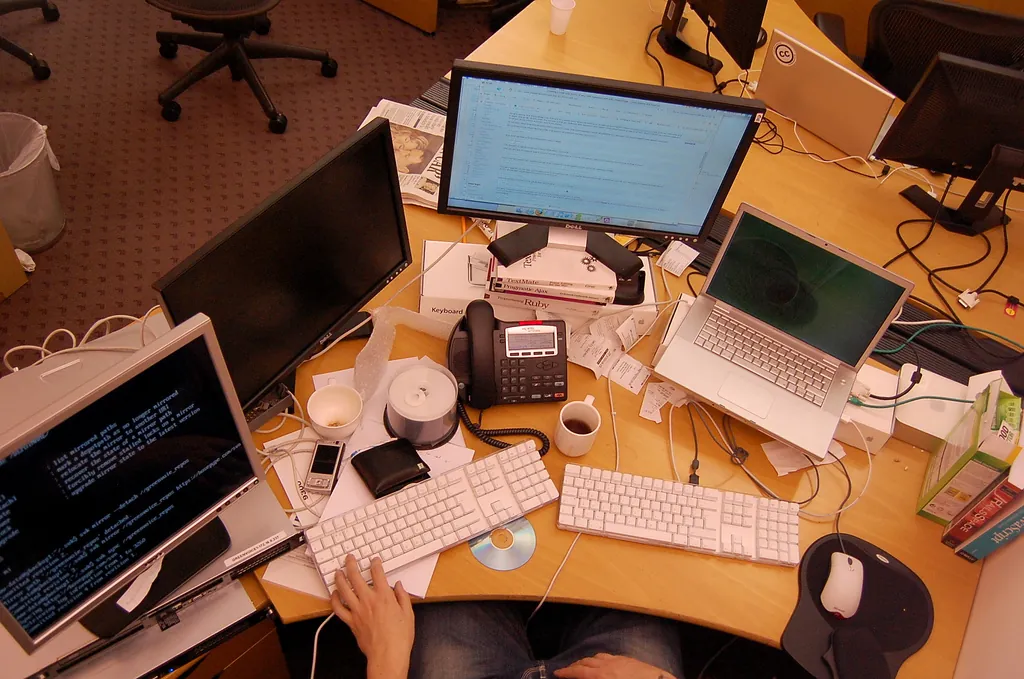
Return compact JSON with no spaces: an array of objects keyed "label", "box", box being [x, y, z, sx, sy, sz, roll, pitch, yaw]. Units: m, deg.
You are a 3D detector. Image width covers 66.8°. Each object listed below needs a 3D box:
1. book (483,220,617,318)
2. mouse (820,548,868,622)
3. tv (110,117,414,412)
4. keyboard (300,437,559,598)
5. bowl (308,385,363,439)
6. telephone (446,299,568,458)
[{"label":"book","box":[0.114,-0.212,2.327,0.328,0.040,0.273,5,47,-4]},{"label":"mouse","box":[0.910,0.660,2.116,0.095,0.039,0.171,22,64,7]},{"label":"tv","box":[-0.563,-0.202,2.052,0.340,0.670,0.935,14,31,25]},{"label":"keyboard","box":[-0.214,0.476,2.095,0.663,0.099,0.179,-16,58,-19]},{"label":"bowl","box":[-0.497,0.199,2.168,0.124,0.106,0.161,3,66,-6]},{"label":"telephone","box":[-0.001,0.076,2.156,0.334,0.168,0.441,-3,71,-6]}]
